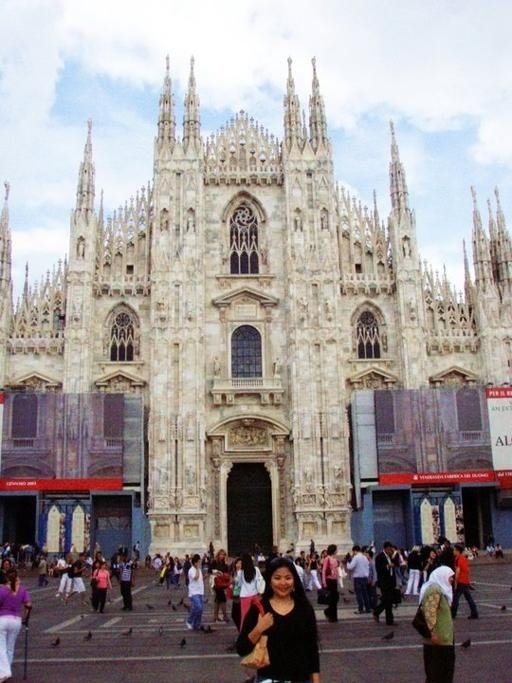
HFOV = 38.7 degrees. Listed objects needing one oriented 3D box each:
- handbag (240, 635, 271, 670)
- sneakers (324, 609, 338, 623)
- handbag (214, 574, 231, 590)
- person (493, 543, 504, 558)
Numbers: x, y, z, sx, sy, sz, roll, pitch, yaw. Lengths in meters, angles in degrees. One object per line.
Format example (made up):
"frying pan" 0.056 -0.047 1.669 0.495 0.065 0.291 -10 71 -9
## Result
"handbag" 0.003 1.553 3.668 0.078 0.155 0.155 29 -33 -15
"sneakers" 1.279 4.623 12.400 0.221 0.263 0.377 -2 -15 4
"handbag" -0.600 4.256 12.964 0.256 0.265 0.349 1 -15 -8
"person" 9.553 8.237 28.637 0.372 0.499 0.992 -6 -15 17
